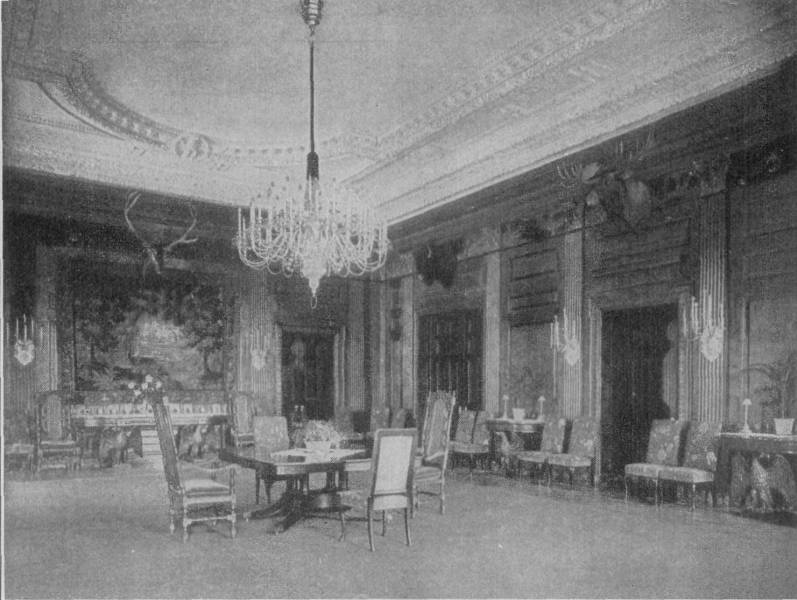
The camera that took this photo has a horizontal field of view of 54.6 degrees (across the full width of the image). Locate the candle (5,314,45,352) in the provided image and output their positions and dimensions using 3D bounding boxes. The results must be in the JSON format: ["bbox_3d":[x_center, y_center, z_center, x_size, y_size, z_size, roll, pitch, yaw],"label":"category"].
[{"bbox_3d":[-4.024,0.357,8.267,0.269,0.405,0.286,3,4,31],"label":"candle"}]
